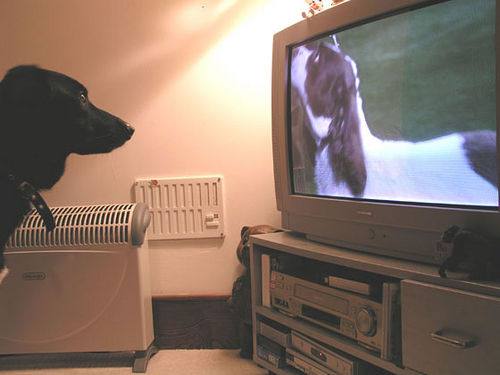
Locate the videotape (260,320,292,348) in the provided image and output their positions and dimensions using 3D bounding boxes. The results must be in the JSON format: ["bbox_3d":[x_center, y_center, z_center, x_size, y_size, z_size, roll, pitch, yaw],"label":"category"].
[{"bbox_3d":[0.105,0.604,1.726,0.087,0.031,0.086,5,-1,-37],"label":"videotape"}]

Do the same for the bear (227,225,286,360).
[{"bbox_3d":[0.031,0.498,2.029,0.219,0.659,0.247,-2,10,-17],"label":"bear"}]
